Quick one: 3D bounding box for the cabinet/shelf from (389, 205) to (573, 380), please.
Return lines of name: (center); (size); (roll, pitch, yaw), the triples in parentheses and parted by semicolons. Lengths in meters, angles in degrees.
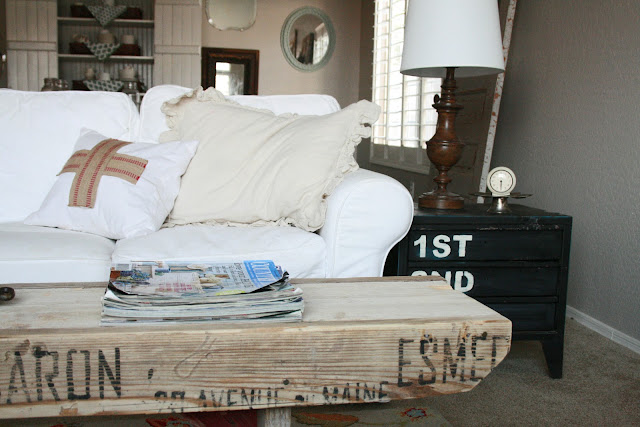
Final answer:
cabinet/shelf: (0.701, 0.362, 3.085); (0.910, 0.763, 0.600); (0, 4, -4)
